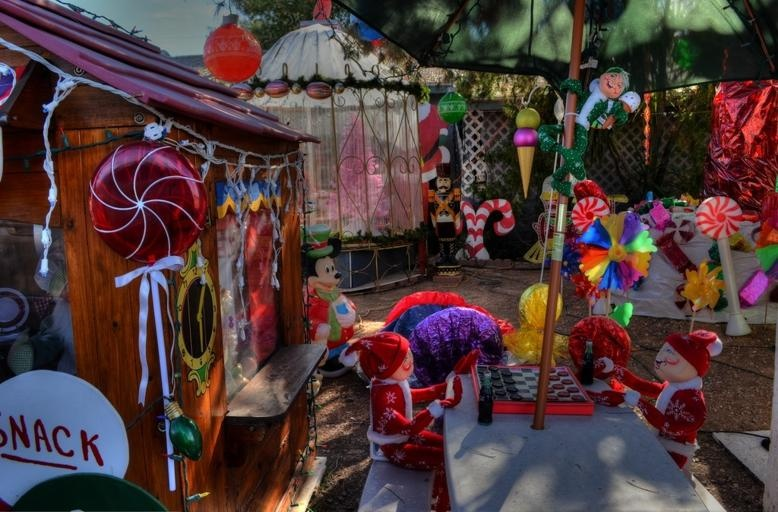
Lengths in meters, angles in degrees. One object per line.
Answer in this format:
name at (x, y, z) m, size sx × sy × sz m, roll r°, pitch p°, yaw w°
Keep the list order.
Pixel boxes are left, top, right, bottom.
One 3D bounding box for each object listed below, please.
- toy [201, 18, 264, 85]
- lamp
toy at (-1.552, -2.057, 6.081) m, size 0.536 × 0.729 × 0.554 m, roll 0°, pitch 3°, yaw 35°
lamp at (-1.524, -2.045, 6.101) m, size 0.516 × 0.715 × 0.566 m, roll 1°, pitch -5°, yaw -7°
